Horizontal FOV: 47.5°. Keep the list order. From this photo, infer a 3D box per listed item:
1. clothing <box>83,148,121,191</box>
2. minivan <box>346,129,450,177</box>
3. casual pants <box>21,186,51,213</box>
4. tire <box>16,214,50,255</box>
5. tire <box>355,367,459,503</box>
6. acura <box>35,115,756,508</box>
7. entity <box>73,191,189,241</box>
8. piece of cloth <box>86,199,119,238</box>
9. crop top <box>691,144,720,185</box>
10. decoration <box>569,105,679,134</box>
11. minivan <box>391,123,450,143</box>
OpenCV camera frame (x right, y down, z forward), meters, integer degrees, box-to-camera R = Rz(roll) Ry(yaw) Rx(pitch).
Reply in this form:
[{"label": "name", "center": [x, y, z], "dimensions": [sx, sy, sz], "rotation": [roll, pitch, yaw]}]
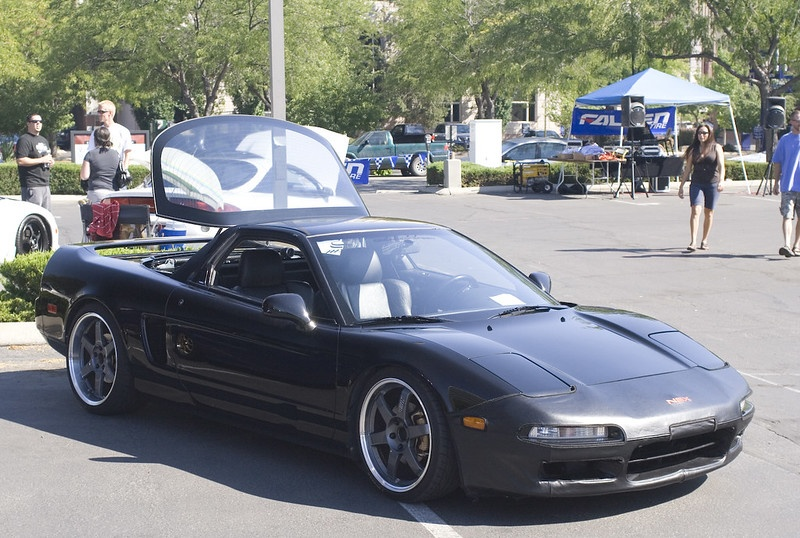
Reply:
[{"label": "clothing", "center": [-4.571, -1.522, 13.832], "dimensions": [0.614, 0.608, 0.327], "rotation": [-2, 6, -43]}, {"label": "minivan", "center": [-0.148, -5.128, 38.714], "dimensions": [4.360, 1.780, 2.049], "rotation": [0, 4, -25]}, {"label": "casual pants", "center": [-6.170, -1.178, 15.293], "dimensions": [0.308, 0.547, 0.498], "rotation": [-2, 2, 34]}, {"label": "tire", "center": [-5.997, -0.514, 14.949], "dimensions": [0.206, 0.550, 0.542], "rotation": [9, -31, -40]}, {"label": "tire", "center": [0.073, 1.240, 6.879], "dimensions": [0.365, 1.030, 1.013], "rotation": [-1, -1, -39]}, {"label": "acura", "center": [-0.642, 0.357, 8.397], "dimensions": [6.750, 2.983, 3.131], "rotation": [7, 8, 39]}, {"label": "entity", "center": [-4.130, -0.800, 13.668], "dimensions": [1.243, 0.975, 2.074], "rotation": [-7, 13, -36]}, {"label": "piece of cloth", "center": [-4.289, -0.739, 13.055], "dimensions": [0.473, 0.566, 0.305], "rotation": [15, 17, 30]}, {"label": "crop top", "center": [5.207, -1.812, 15.569], "dimensions": [0.566, 0.776, 0.398], "rotation": [-5, -10, 43]}, {"label": "decoration", "center": [7.117, -4.788, 29.023], "dimensions": [1.585, 0.888, 1.592], "rotation": [0, 5, -24]}, {"label": "minivan", "center": [0.797, -5.838, 39.167], "dimensions": [2.447, 1.154, 1.515], "rotation": [2, 5, -7]}]
